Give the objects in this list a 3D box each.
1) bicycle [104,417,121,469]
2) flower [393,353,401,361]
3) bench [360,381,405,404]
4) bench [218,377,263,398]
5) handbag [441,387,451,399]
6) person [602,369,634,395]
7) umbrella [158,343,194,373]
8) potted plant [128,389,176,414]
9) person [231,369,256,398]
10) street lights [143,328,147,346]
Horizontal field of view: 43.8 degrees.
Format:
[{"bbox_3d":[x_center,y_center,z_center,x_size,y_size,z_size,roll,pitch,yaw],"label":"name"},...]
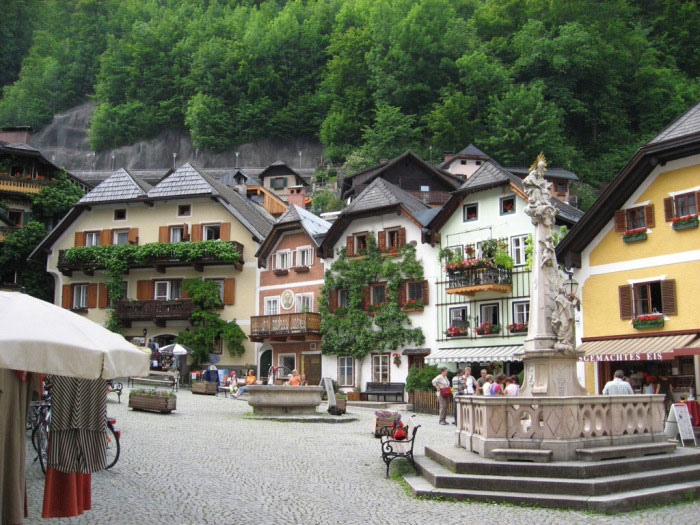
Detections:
[{"bbox_3d":[-6.023,4.620,22.223,0.352,1.229,1.690,4,-11,-14],"label":"bicycle"},{"bbox_3d":[2.425,4.819,44.585,0.279,0.415,0.454,10,-14,-39],"label":"flower"},{"bbox_3d":[1.754,6.459,43.551,2.545,0.976,1.091,-9,-15,42],"label":"bench"},{"bbox_3d":[-5.234,5.992,41.588,1.811,0.496,1.964,2,-3,-25],"label":"bench"},{"bbox_3d":[3.680,4.975,33.368,0.475,0.468,0.261,0,-4,-21],"label":"handbag"},{"bbox_3d":[7.892,3.518,25.766,0.708,0.778,2.275,-2,-11,16],"label":"person"},{"bbox_3d":[-9.502,5.362,48.162,1.928,1.406,1.990,5,1,29],"label":"umbrella"},{"bbox_3d":[-7.404,5.256,32.925,1.758,0.909,0.720,-6,-13,30],"label":"potted plant"},{"bbox_3d":[-5.196,5.962,42.657,0.913,1.593,0.714,19,-55,-7],"label":"person"},{"bbox_3d":[-12.280,4.478,52.642,0.399,0.997,0.131,-6,-13,31],"label":"street lights"}]
